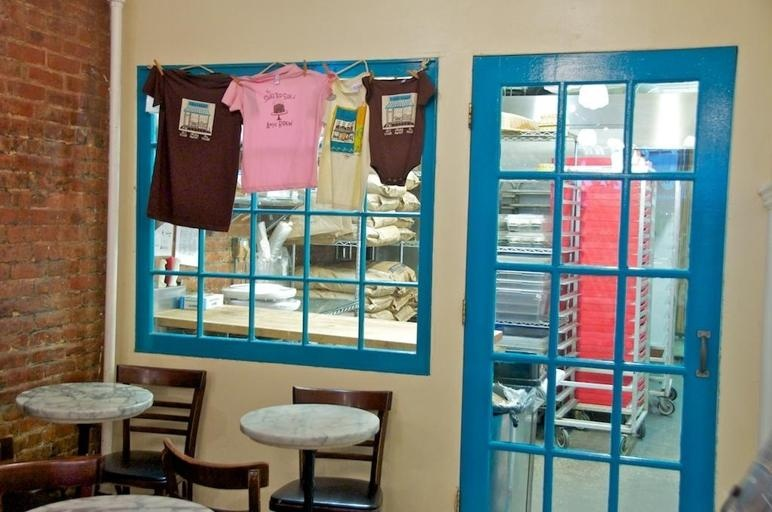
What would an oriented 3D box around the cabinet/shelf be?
[{"bbox_3d":[-0.228,0.031,4.143,0.823,0.459,0.580,2,4,-8],"label":"cabinet/shelf"}]
